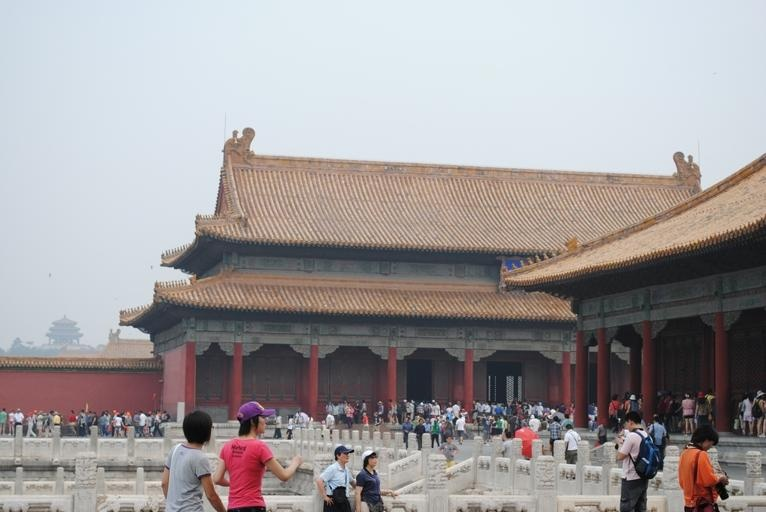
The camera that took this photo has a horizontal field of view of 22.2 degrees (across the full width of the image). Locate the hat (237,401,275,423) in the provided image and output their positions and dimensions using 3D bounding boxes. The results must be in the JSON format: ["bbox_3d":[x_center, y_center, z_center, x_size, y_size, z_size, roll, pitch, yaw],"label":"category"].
[{"bbox_3d":[-3.748,4.479,56.797,0.988,0.389,0.606,-2,1,-19],"label":"hat"}]

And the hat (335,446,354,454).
[{"bbox_3d":[-1.258,5.843,59.676,0.471,0.172,0.294,-3,-4,1],"label":"hat"}]
